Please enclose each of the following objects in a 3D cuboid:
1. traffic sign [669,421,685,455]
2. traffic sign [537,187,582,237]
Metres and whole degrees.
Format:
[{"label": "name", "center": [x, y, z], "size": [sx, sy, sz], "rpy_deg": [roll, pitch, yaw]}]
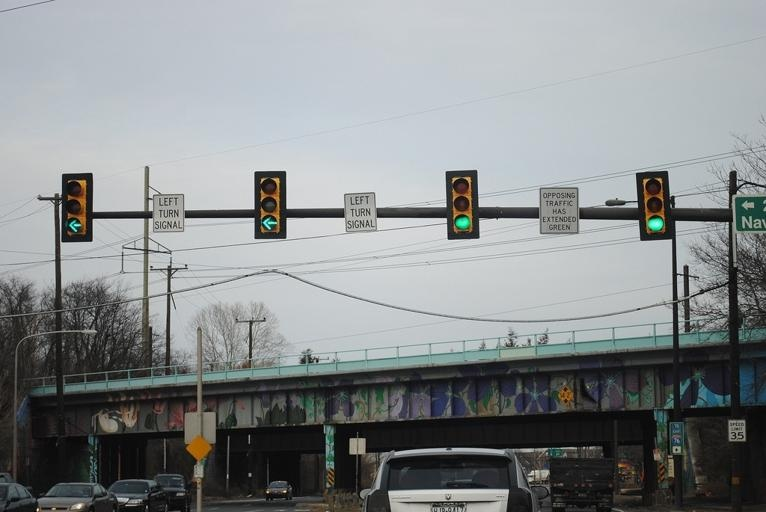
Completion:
[{"label": "traffic sign", "center": [21.734, 13.173, 113.904], "size": [0.972, 2.289, 0.987], "rpy_deg": [-1, -14, -1]}, {"label": "traffic sign", "center": [10.625, -2.821, 92.864], "size": [2.318, 2.633, 0.807], "rpy_deg": [0, -14, -8]}]
